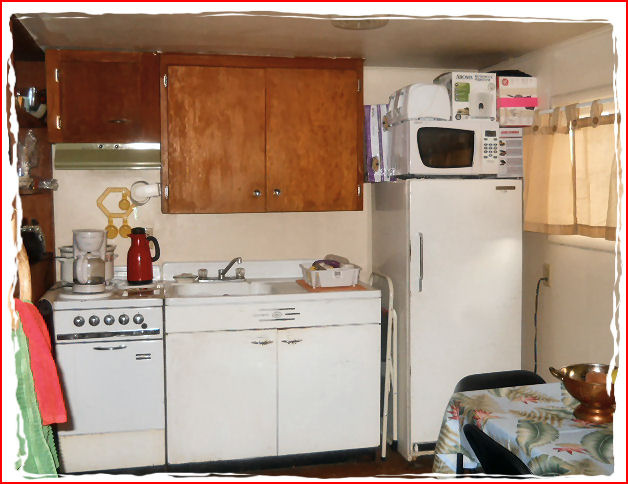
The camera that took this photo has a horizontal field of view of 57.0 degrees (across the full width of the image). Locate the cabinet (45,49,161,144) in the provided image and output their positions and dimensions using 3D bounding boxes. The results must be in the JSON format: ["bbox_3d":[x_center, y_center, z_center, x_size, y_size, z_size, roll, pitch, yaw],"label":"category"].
[{"bbox_3d":[-1.355,-0.890,3.922,0.923,0.800,0.535,-1,3,-12],"label":"cabinet"}]

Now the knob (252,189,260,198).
[{"bbox_3d":[-0.380,-0.316,3.778,0.041,0.043,0.025,-12,4,0],"label":"knob"}]

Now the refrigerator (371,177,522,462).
[{"bbox_3d":[0.878,0.479,3.729,0.918,1.788,0.470,-2,5,20],"label":"refrigerator"}]

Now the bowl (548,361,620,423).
[{"bbox_3d":[1.142,0.605,2.344,0.338,0.195,0.264,-5,-30,27],"label":"bowl"}]

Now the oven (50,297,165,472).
[{"bbox_3d":[-1.107,0.898,3.717,0.894,1.090,0.874,-3,-8,-6],"label":"oven"}]

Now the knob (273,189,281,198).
[{"bbox_3d":[-0.246,-0.322,3.802,0.041,0.041,0.043,5,6,11],"label":"knob"}]

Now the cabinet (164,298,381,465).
[{"bbox_3d":[-0.305,0.828,3.892,1.389,0.986,0.781,-1,3,-16],"label":"cabinet"}]

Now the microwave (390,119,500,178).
[{"bbox_3d":[0.853,-0.601,3.762,0.694,0.401,0.279,-4,5,0],"label":"microwave"}]
